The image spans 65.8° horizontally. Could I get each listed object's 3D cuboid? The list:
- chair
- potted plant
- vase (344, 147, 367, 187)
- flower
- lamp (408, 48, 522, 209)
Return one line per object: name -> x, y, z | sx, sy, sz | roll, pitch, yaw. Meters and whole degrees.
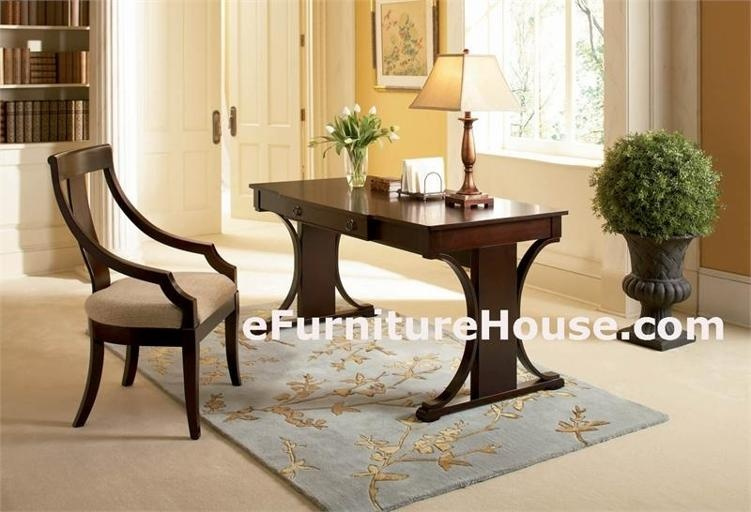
chair -> -1.191, 0.144, 3.194 | 0.965, 1.348, 1.007 | 9, 12, 26
potted plant -> 1.979, -0.120, 4.064 | 0.853, 1.423, 0.922 | 2, -2, -13
vase -> -0.124, -0.589, 3.834 | 0.164, 0.261, 0.165 | 1, 11, 7
flower -> -0.131, -0.719, 3.834 | 0.574, 0.505, 0.596 | 9, 18, 12
lamp -> 0.531, -0.733, 3.375 | 0.601, 0.848, 0.637 | -2, 15, -5
